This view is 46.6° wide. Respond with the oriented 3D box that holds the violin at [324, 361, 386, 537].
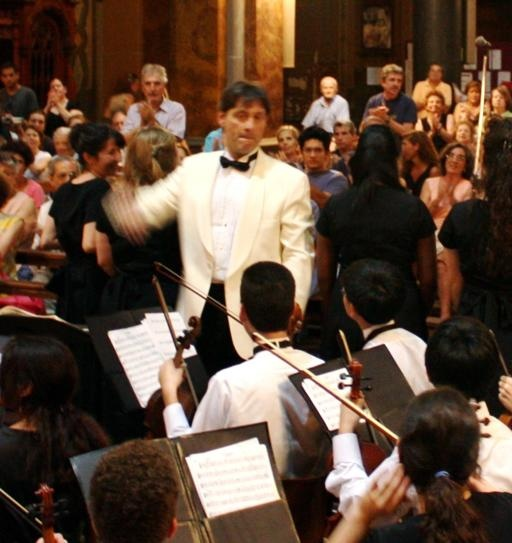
[{"bbox_3d":[0.284,0.456,1.656,0.161,0.517,0.081,-3,-3,0],"label":"violin"}]
